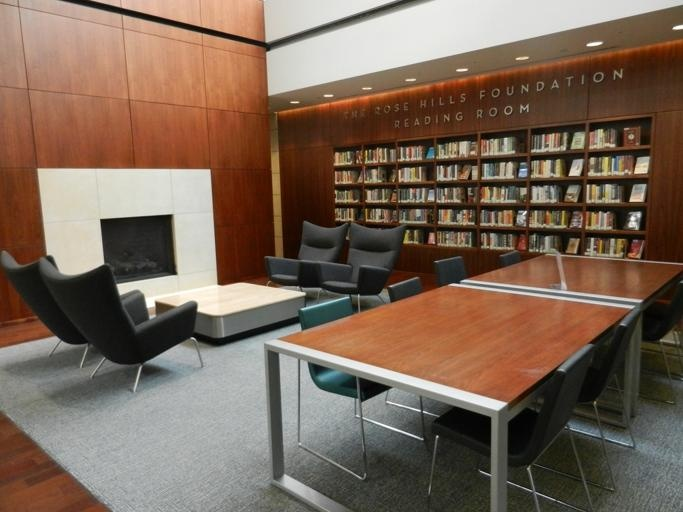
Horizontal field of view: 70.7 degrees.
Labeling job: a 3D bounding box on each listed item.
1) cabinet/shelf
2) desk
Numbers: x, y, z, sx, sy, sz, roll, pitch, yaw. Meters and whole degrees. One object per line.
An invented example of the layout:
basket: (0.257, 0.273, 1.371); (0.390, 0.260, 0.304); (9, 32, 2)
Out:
cabinet/shelf: (2.290, -1.086, 7.786); (4.642, 2.031, 0.945); (7, 16, 31)
desk: (0.772, 0.773, 3.322); (1.601, 0.674, 2.002); (11, 18, 42)
